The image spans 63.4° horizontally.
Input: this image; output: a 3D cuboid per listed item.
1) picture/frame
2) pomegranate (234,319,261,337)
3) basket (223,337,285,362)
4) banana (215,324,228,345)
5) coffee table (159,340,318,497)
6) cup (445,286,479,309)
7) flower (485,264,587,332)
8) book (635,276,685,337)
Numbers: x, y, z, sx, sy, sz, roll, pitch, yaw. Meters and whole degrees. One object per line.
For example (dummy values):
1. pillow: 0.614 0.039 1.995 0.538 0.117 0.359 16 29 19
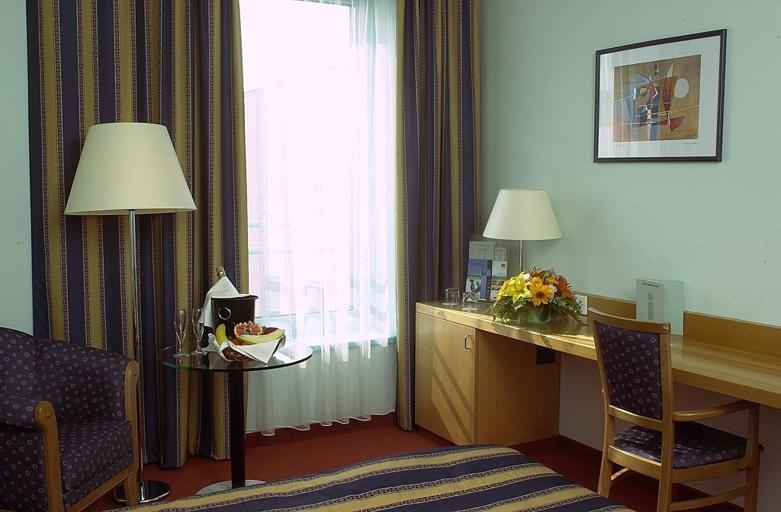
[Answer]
1. picture/frame: 1.731 -1.021 3.997 0.062 0.836 0.944 0 1 -39
2. pomegranate: -0.886 0.446 3.922 0.108 0.052 0.095 6 -1 -40
3. basket: -0.822 0.568 3.786 0.340 0.117 0.188 -4 8 -26
4. banana: -1.034 0.479 3.876 0.073 0.103 0.203 -3 8 -15
5. coffee table: -0.912 1.035 4.128 0.880 1.027 0.910 1 3 -4
6. cup: 0.554 0.325 4.777 0.214 0.101 0.133 0 1 -16
7. flower: 1.057 0.278 4.386 0.603 0.365 0.609 -3 -8 -7
8. book: 1.604 0.309 3.754 0.213 0.388 0.310 -6 7 -36
